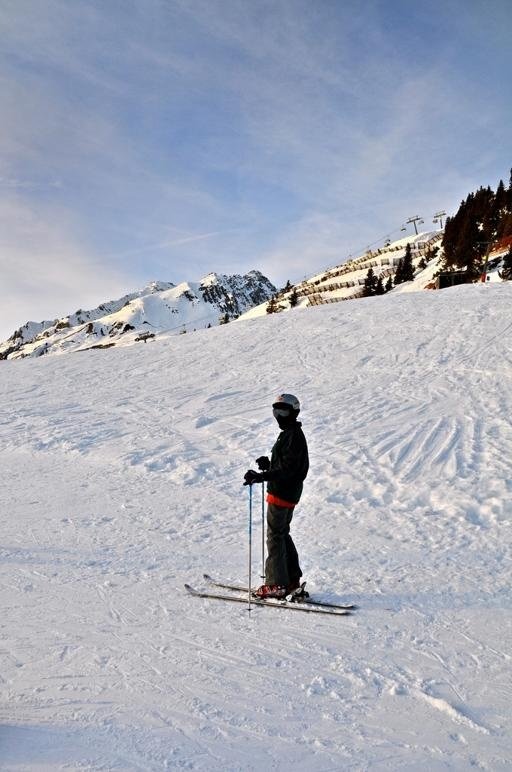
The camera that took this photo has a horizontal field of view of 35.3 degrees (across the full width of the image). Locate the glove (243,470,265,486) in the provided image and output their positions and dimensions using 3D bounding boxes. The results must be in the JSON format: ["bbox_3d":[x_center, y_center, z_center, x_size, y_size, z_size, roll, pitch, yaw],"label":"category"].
[{"bbox_3d":[-0.027,0.875,7.658,0.214,0.139,0.096,-4,-30,12],"label":"glove"}]

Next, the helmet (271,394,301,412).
[{"bbox_3d":[0.309,0.158,7.825,0.185,0.151,0.213,2,-10,20],"label":"helmet"}]

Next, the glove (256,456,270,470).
[{"bbox_3d":[0.082,0.736,7.829,0.132,0.031,0.132,3,-40,17],"label":"glove"}]

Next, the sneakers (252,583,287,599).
[{"bbox_3d":[0.136,1.952,7.717,0.353,0.150,0.117,4,-5,10],"label":"sneakers"}]
